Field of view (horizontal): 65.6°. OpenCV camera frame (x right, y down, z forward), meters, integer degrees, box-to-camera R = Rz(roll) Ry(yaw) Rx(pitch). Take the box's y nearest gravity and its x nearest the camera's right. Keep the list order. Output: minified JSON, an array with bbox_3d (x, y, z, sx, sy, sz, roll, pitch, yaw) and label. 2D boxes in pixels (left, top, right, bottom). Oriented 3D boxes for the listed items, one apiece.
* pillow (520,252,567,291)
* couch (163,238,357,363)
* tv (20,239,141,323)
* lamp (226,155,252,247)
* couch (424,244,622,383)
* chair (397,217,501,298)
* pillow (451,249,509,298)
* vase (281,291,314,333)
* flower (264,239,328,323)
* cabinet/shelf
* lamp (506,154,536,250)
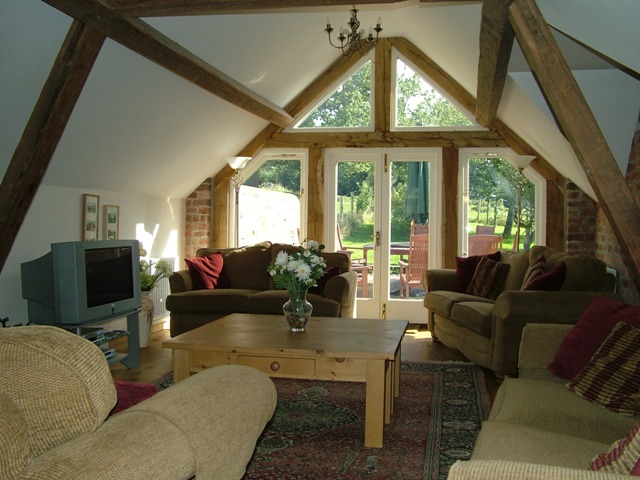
[{"bbox_3d":[1.894,0.279,4.188,0.315,0.268,0.577,1,3,23],"label":"pillow"},{"bbox_3d":[-0.648,0.572,5.420,1.896,0.964,0.865,1,3,9],"label":"couch"},{"bbox_3d":[-2.024,0.341,4.140,0.670,0.606,0.900,-3,0,7],"label":"tv"},{"bbox_3d":[-1.102,-0.535,6.862,0.374,1.175,0.388,4,11,15],"label":"lamp"},{"bbox_3d":[1.754,0.579,4.815,1.060,0.998,1.878,-2,3,-9],"label":"couch"},{"bbox_3d":[1.671,0.258,6.458,0.881,1.386,0.939,2,3,6],"label":"chair"},{"bbox_3d":[1.680,0.339,5.210,0.150,0.457,0.491,20,-11,-26],"label":"pillow"},{"bbox_3d":[-0.153,0.505,3.425,0.256,0.304,0.248,1,-6,-2],"label":"vase"},{"bbox_3d":[-0.151,0.329,3.509,0.375,0.600,0.411,2,-6,-38],"label":"flower"},{"bbox_3d":[-1.984,0.838,4.352,0.719,0.432,0.567,11,-21,-26],"label":"cabinet/shelf"},{"bbox_3d":[2.486,-0.483,6.103,0.273,1.204,0.405,1,3,21],"label":"lamp"}]
